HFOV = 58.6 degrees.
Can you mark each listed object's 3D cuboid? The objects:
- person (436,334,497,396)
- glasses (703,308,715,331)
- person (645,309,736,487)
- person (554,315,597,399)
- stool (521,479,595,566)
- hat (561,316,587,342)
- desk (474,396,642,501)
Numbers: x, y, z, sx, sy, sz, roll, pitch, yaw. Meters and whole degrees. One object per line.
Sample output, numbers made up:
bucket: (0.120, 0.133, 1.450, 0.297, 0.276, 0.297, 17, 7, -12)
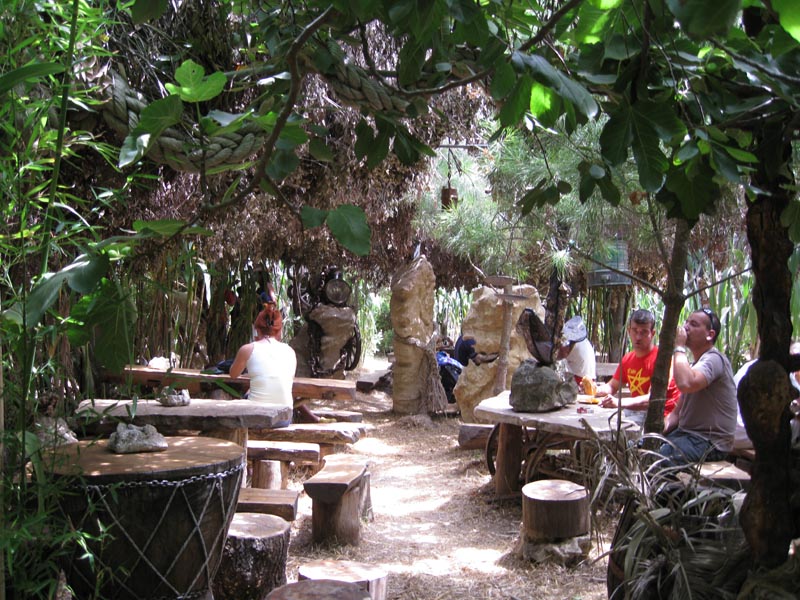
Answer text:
person: (0.872, 0.979, 10.992, 0.654, 1.017, 0.405, 6, 2, -18)
glasses: (2.242, 0.153, 5.151, 0.116, 0.148, 0.045, 2, 3, 38)
person: (1.920, 0.610, 4.613, 0.477, 1.037, 1.899, 1, 2, 26)
person: (1.844, 0.655, 7.567, 0.485, 0.984, 0.410, 14, 26, 32)
stool: (1.105, 1.578, 5.067, 0.456, 0.503, 0.507, 0, 5, 36)
hat: (1.737, 0.312, 7.067, 0.196, 0.270, 0.534, 1, 1, 12)
desk: (1.192, 1.252, 5.905, 0.716, 0.669, 1.043, 0, -4, -25)
